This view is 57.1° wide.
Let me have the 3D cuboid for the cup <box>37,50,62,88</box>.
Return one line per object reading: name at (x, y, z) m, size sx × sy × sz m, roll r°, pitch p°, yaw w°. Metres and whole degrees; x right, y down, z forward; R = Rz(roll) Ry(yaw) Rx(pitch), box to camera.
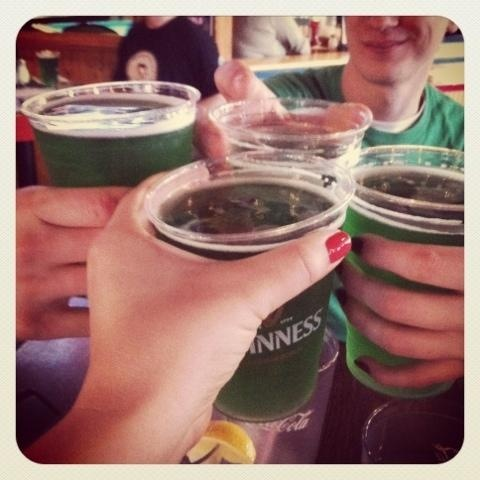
cup at (-0.303, -0.271, 0.694) m, size 0.041 × 0.058 × 0.040 m, roll 4°, pitch 31°, yaw -3°
